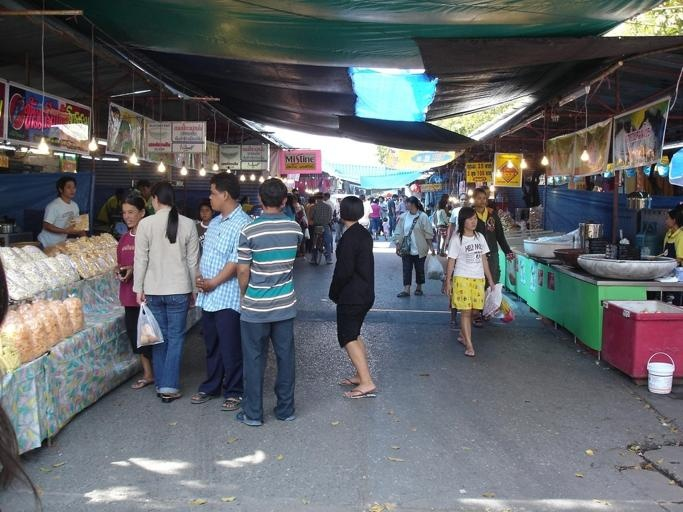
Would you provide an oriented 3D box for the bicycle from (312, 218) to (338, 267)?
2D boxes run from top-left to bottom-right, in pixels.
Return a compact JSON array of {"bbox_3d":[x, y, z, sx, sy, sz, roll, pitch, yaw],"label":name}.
[{"bbox_3d":[-0.728,-0.454,17.076,0.702,1.498,0.520,0,6,-31],"label":"bicycle"}]

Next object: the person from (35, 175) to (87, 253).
[{"bbox_3d":[-4.514,-0.736,8.006,0.639,1.155,0.366,-5,9,-33],"label":"person"}]

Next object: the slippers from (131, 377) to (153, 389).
[{"bbox_3d":[-2.254,1.443,5.620,0.085,0.082,0.224,-3,-3,44],"label":"slippers"}]

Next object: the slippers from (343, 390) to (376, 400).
[{"bbox_3d":[0.202,1.494,5.382,0.299,0.073,0.119,2,-5,-5],"label":"slippers"}]

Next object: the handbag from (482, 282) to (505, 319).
[{"bbox_3d":[2.294,0.601,7.427,0.347,0.650,0.277,12,39,29],"label":"handbag"}]

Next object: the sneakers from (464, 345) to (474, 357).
[{"bbox_3d":[1.746,1.318,6.801,0.066,0.085,0.203,0,-11,-2],"label":"sneakers"}]

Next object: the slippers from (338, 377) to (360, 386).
[{"bbox_3d":[0.100,1.462,5.797,0.169,0.061,0.094,3,2,2],"label":"slippers"}]

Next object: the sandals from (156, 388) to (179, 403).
[{"bbox_3d":[-1.818,1.448,5.247,0.235,0.146,0.176,-2,7,-20],"label":"sandals"}]

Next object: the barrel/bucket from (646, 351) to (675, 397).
[{"bbox_3d":[3.558,1.296,5.499,0.339,0.402,0.290,1,7,10],"label":"barrel/bucket"}]

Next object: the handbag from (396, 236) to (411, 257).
[{"bbox_3d":[1.387,-0.230,11.131,0.324,0.708,0.704,-1,1,9],"label":"handbag"}]

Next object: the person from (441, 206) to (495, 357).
[{"bbox_3d":[1.819,0.325,7.009,0.671,2.044,0.669,-4,9,-18],"label":"person"}]

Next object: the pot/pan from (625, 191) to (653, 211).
[{"bbox_3d":[5.533,-1.034,9.229,0.375,0.285,0.377,2,0,0],"label":"pot/pan"}]

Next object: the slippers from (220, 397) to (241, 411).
[{"bbox_3d":[-1.133,1.511,5.030,0.083,0.076,0.210,0,-10,7],"label":"slippers"}]
